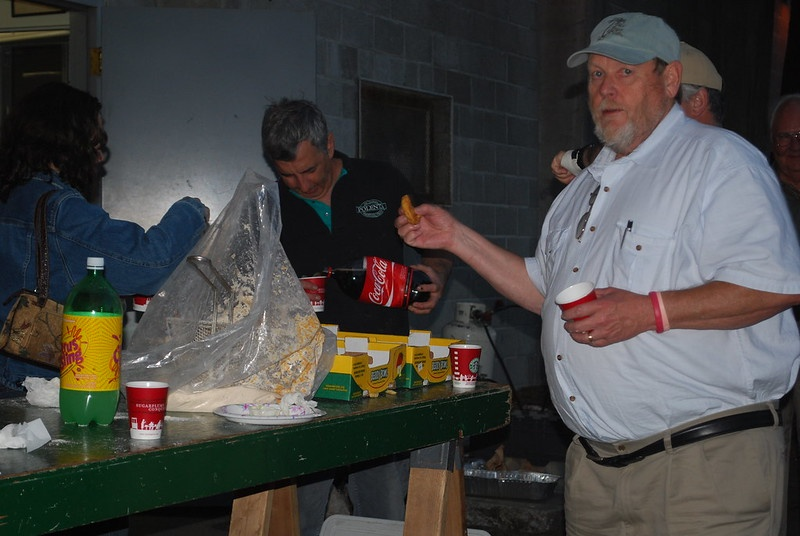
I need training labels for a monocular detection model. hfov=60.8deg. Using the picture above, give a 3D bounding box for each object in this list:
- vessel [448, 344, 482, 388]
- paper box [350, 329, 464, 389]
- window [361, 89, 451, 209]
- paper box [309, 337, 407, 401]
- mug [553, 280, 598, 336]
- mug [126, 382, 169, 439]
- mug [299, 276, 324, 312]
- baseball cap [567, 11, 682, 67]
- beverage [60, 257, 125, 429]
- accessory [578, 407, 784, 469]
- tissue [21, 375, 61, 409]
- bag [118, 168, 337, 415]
[{"bbox_3d":[0.201,0.315,2.186,0.125,0.126,0.127,5,-8,-28],"label":"vessel"},{"bbox_3d":[0.043,0.287,2.238,0.223,0.088,0.223,2,5,39],"label":"paper box"},{"bbox_3d":[-0.009,-0.880,5.097,0.117,0.893,1.060,6,9,43],"label":"window"},{"bbox_3d":[-0.113,0.308,2.084,0.230,0.100,0.166,-5,1,-38],"label":"paper box"},{"bbox_3d":[0.482,0.080,1.861,0.110,0.080,0.056,0,-5,14],"label":"mug"},{"bbox_3d":[-0.626,0.346,1.668,0.112,0.123,0.113,1,-12,-11],"label":"mug"},{"bbox_3d":[-0.271,0.087,2.197,0.098,0.097,0.098,-3,-18,-8],"label":"mug"},{"bbox_3d":[0.716,-0.703,2.129,0.271,0.128,0.205,-3,7,-31],"label":"baseball cap"},{"bbox_3d":[-0.777,0.182,1.724,0.139,0.424,0.158,4,-6,-25],"label":"beverage"},{"bbox_3d":[0.860,0.463,1.924,0.341,0.057,0.283,-16,-7,-16],"label":"accessory"},{"bbox_3d":[-0.967,0.342,1.851,0.100,0.098,0.040,1,4,8],"label":"tissue"},{"bbox_3d":[-0.546,-0.024,2.082,0.675,0.745,0.720,1,-2,-18],"label":"bag"}]
